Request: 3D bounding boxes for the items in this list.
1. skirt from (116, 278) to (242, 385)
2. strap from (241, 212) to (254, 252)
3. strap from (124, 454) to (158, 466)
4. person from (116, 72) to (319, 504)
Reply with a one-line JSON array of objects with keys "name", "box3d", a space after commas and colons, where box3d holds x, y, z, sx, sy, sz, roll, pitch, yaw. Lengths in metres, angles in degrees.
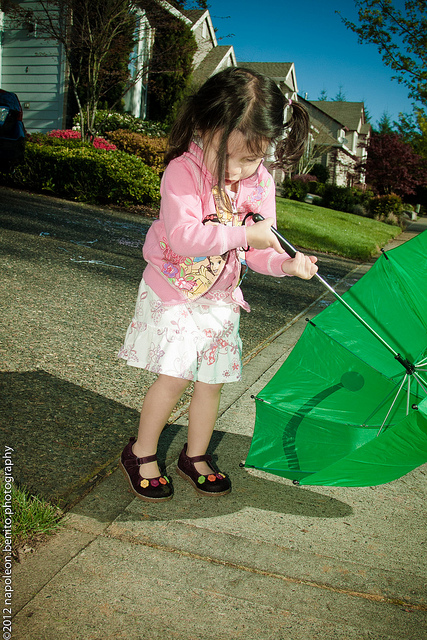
[{"name": "skirt", "box3d": [-0.102, -0.013, 2.136, 0.504, 0.423, 0.305, 5, 1, -31]}, {"name": "strap", "box3d": [0.128, -0.312, 2.042, 0.028, 0.106, 0.088, 8, 2, 24]}, {"name": "strap", "box3d": [-0.259, 0.505, 2.116, 0.081, 0.019, 0.046, -12, -11, 4]}, {"name": "person", "box3d": [-0.006, -0.108, 2.178, 0.644, 1.457, 0.673, 12, 12, 3]}]
